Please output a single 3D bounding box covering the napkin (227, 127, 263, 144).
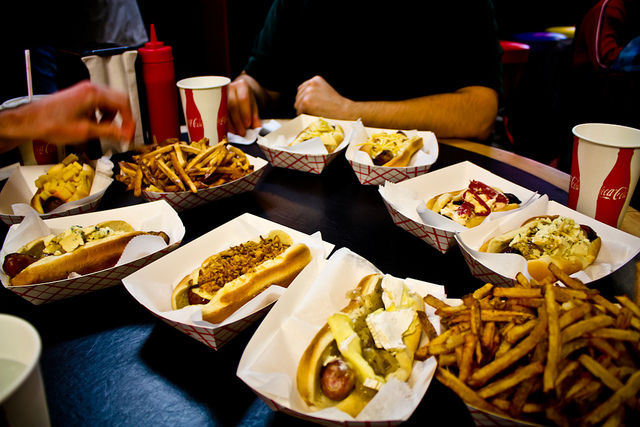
[{"bbox_3d":[-0.442,-0.449,2.490,0.188,0.052,0.191,7,28,12],"label":"napkin"}]

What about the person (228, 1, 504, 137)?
[{"bbox_3d":[0.335,-0.983,3.152,1.854,0.983,1.234,11,29,19],"label":"person"}]

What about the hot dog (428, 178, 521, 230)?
[{"bbox_3d":[0.630,-0.034,1.811,0.244,0.070,0.245,-34,36,-20],"label":"hot dog"}]

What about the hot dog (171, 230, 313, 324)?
[{"bbox_3d":[-0.259,0.211,1.516,0.435,0.138,0.232,-30,40,-29],"label":"hot dog"}]

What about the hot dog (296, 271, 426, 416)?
[{"bbox_3d":[0.123,0.392,1.278,0.242,0.146,0.454,26,57,18],"label":"hot dog"}]

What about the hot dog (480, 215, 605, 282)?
[{"bbox_3d":[0.793,0.106,1.530,0.366,0.111,0.230,-25,43,-21],"label":"hot dog"}]

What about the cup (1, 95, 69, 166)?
[{"bbox_3d":[-1.295,-0.391,1.996,0.215,0.311,0.222,0,27,0],"label":"cup"}]

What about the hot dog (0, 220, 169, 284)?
[{"bbox_3d":[-0.847,0.145,1.566,0.424,0.125,0.215,-13,32,-23],"label":"hot dog"}]

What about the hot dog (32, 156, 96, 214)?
[{"bbox_3d":[-1.074,-0.124,1.839,0.221,0.096,0.287,-14,70,-8],"label":"hot dog"}]

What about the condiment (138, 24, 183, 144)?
[{"bbox_3d":[-0.793,-0.627,2.169,0.162,0.552,0.263,-9,29,-18],"label":"condiment"}]

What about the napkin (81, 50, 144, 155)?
[{"bbox_3d":[-1.009,-0.590,2.273,0.365,0.542,0.365,-3,15,-6],"label":"napkin"}]
